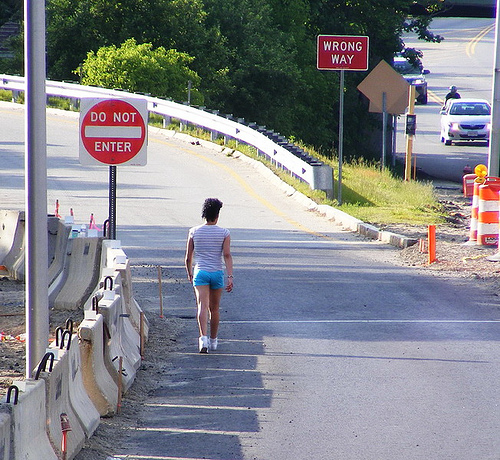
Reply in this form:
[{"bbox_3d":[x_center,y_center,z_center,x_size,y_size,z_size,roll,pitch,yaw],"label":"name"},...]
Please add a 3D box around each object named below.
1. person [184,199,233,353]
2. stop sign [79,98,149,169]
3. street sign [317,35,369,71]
[{"bbox_3d":[-0.486,0.537,16.731,0.559,1.873,0.759,-1,8,-15],"label":"person"},{"bbox_3d":[-1.786,-1.332,17.266,0.769,0.903,0.114,1,9,2],"label":"stop sign"},{"bbox_3d":[2.151,-4.142,29.948,1.028,0.750,0.143,0,0,-9],"label":"street sign"}]
